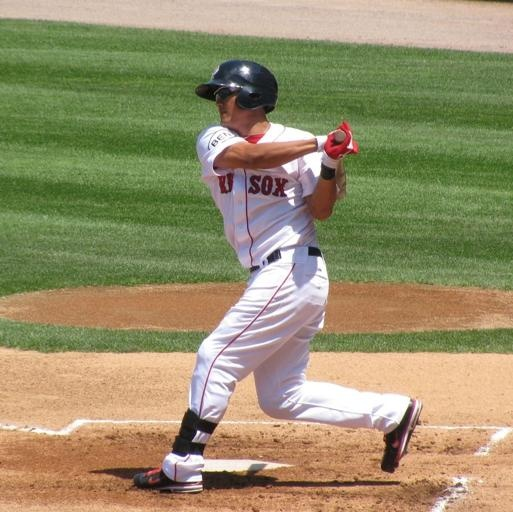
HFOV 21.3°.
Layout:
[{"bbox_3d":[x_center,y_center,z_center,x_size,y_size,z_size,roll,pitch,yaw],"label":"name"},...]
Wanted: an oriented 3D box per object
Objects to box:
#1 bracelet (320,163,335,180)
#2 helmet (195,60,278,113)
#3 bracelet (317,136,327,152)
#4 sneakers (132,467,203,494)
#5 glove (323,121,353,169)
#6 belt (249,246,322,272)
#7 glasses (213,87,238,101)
[{"bbox_3d":[0.675,-0.766,12.996,0.136,0.135,0.136,11,34,12],"label":"bracelet"},{"bbox_3d":[-0.173,-1.605,13.107,0.681,0.373,0.483,6,-9,-5],"label":"helmet"},{"bbox_3d":[0.600,-1.032,12.990,0.108,0.115,0.138,-5,-13,26],"label":"bracelet"},{"bbox_3d":[-0.863,2.117,13.193,0.683,0.287,0.239,4,-4,8],"label":"sneakers"},{"bbox_3d":[0.789,-1.008,12.947,0.321,0.448,0.218,6,14,-11],"label":"glove"},{"bbox_3d":[0.303,0.015,13.064,0.423,0.098,0.321,-22,-12,6],"label":"belt"},{"bbox_3d":[-0.298,-1.514,13.121,0.165,0.081,0.128,-6,14,-24],"label":"glasses"}]
